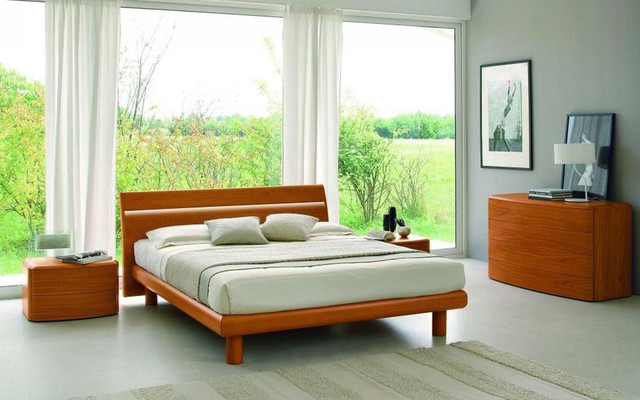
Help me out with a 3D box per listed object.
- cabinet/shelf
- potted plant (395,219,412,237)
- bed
[{"bbox_3d":[3.196,0.580,6.058,1.208,1.308,2.052,0,0,-32],"label":"cabinet/shelf"},{"bbox_3d":[1.080,0.355,6.083,0.253,0.297,0.232,-1,3,-6],"label":"potted plant"},{"bbox_3d":[-0.510,0.584,5.353,3.040,1.273,3.347,0,4,-27],"label":"bed"}]
